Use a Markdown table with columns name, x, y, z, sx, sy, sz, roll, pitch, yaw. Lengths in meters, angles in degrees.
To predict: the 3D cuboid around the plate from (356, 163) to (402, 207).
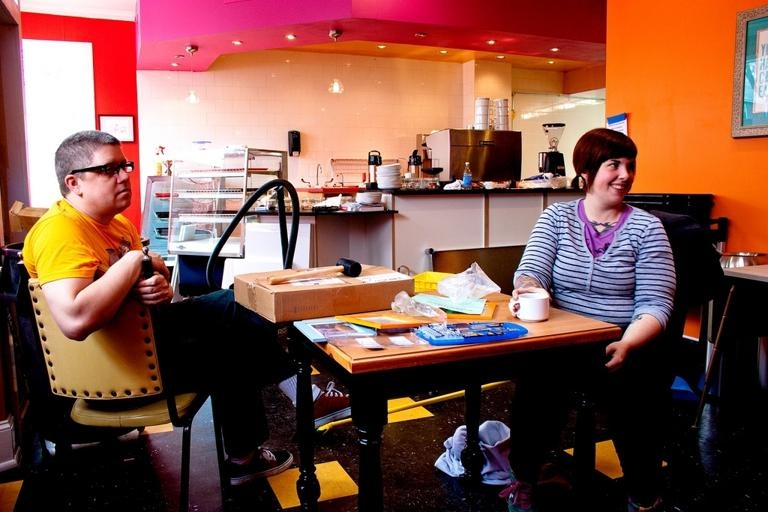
| name | x | y | z | sx | sy | sz | roll | pitch | yaw |
| --- | --- | --- | --- | --- | --- | --- | --- | --- | --- |
| plate | -0.148 | -0.680 | 5.540 | 0.340 | 0.218 | 0.514 | 0 | -5 | -39 |

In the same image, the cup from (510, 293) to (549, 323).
| name | x | y | z | sx | sy | sz | roll | pitch | yaw |
| --- | --- | --- | --- | --- | --- | --- | --- | --- | --- |
| cup | 0.637 | 0.227 | 2.472 | 0.150 | 0.090 | 0.106 | -3 | 8 | -4 |

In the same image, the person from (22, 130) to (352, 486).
| name | x | y | z | sx | sy | sz | roll | pitch | yaw |
| --- | --- | --- | --- | --- | --- | --- | --- | --- | --- |
| person | -1.161 | 0.295 | 2.986 | 1.253 | 1.779 | 1.012 | -9 | 6 | -30 |

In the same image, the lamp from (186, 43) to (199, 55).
| name | x | y | z | sx | sy | sz | roll | pitch | yaw |
| --- | --- | --- | --- | --- | --- | --- | --- | --- | --- |
| lamp | -2.524 | -2.721 | 7.368 | 0.094 | 0.079 | 0.122 | 7 | 16 | 20 |

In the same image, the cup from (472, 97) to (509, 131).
| name | x | y | z | sx | sy | sz | roll | pitch | yaw |
| --- | --- | --- | --- | --- | --- | --- | --- | --- | --- |
| cup | 1.554 | -2.146 | 8.342 | 0.611 | 0.496 | 0.577 | 0 | 6 | 0 |

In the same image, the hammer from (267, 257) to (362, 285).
| name | x | y | z | sx | sy | sz | roll | pitch | yaw |
| --- | --- | --- | --- | --- | --- | --- | --- | --- | --- |
| hammer | -0.332 | 0.076 | 2.642 | 0.419 | 0.079 | 0.148 | -7 | 10 | -32 |

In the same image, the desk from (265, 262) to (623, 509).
| name | x | y | z | sx | sy | sz | roll | pitch | yaw |
| --- | --- | --- | --- | --- | --- | --- | --- | --- | --- |
| desk | 0.231 | 0.484 | 2.591 | 1.155 | 0.895 | 1.137 | 0 | 5 | -20 |

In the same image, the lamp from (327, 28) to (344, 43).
| name | x | y | z | sx | sy | sz | roll | pitch | yaw |
| --- | --- | --- | --- | --- | --- | --- | --- | --- | --- |
| lamp | -0.597 | -2.732 | 6.932 | 0.155 | 0.121 | 0.114 | -1 | 1 | -28 |

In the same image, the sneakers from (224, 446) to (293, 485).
| name | x | y | z | sx | sy | sz | roll | pitch | yaw |
| --- | --- | --- | --- | --- | --- | --- | --- | --- | --- |
| sneakers | -0.682 | 1.128 | 3.099 | 0.347 | 0.125 | 0.148 | -8 | 10 | -41 |
